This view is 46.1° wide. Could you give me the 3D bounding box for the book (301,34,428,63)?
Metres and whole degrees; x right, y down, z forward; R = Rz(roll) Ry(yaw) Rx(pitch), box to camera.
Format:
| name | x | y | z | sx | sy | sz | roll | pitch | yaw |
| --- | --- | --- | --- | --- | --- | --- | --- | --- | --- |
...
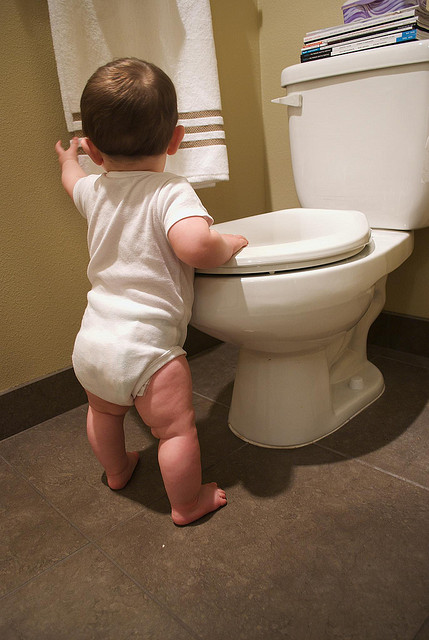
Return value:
| name | x | y | z | sx | sy | sz | roll | pitch | yaw |
| --- | --- | --- | --- | --- | --- | --- | --- | --- | --- |
| book | 0.292 | -0.550 | 1.021 | 0.270 | 0.041 | 0.068 | 23 | 44 | 39 |
